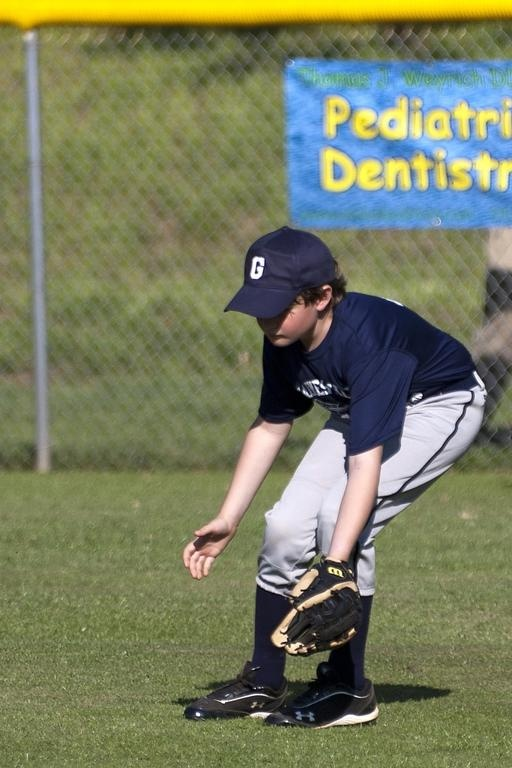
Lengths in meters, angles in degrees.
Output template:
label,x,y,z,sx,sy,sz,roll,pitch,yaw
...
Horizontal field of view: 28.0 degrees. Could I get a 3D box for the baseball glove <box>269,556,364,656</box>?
label,x,y,z,sx,sy,sz,roll,pitch,yaw
baseball glove,0.112,0.416,2.028,0.106,0.143,0.205,25,20,-15

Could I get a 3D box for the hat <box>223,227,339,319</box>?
label,x,y,z,sx,sy,sz,roll,pitch,yaw
hat,0.052,-0.239,2.186,0.200,0.201,0.230,4,6,17

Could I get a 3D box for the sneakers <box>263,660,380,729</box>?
label,x,y,z,sx,sy,sz,roll,pitch,yaw
sneakers,0.152,0.700,2.327,0.316,0.127,0.107,9,-13,-35

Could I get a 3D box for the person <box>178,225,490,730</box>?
label,x,y,z,sx,sy,sz,roll,pitch,yaw
person,0.155,0.201,2.289,0.630,1.091,0.705,4,7,14

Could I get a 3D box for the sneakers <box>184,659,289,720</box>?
label,x,y,z,sx,sy,sz,roll,pitch,yaw
sneakers,-0.035,0.693,2.332,0.291,0.104,0.090,9,-7,-39
